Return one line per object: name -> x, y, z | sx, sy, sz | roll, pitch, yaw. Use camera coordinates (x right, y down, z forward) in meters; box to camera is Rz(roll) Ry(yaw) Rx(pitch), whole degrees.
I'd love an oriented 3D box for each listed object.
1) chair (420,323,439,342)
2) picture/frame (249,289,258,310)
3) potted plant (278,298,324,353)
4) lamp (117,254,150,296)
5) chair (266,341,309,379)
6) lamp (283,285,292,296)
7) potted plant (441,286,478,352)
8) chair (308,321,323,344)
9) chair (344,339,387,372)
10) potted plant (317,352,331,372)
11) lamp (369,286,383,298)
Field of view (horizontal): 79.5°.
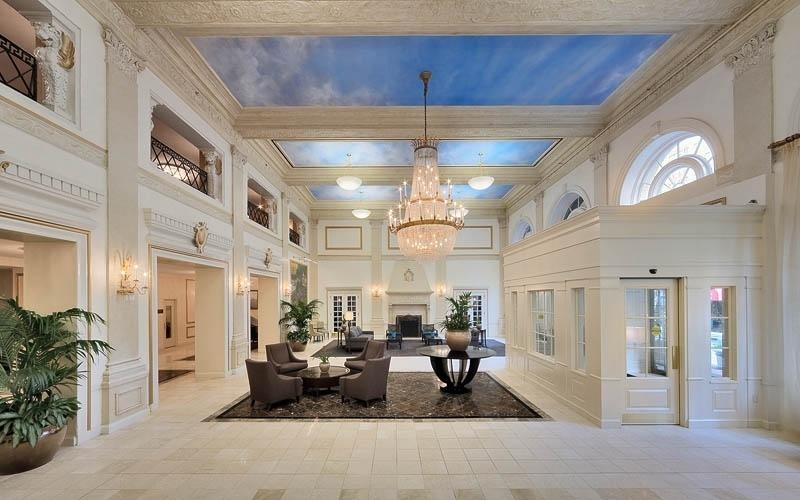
chair -> 1.183, 3.320, 19.213 | 0.657, 0.826, 0.678 | 0, -15, 1
picture/frame -> -6.813, 2.343, 22.330 | 0.219, 0.826, 0.377 | -3, 13, -10
potted plant -> -3.599, 2.794, 17.378 | 1.383, 1.721, 1.515 | 5, 7, 22
lamp -> -5.562, 0.530, 10.056 | 0.252, 0.905, 0.806 | 2, 12, 10
chair -> -2.906, 2.873, 12.162 | 0.972, 0.998, 0.965 | -4, -2, 13
lamp -> -4.112, 1.462, 17.452 | 0.211, 0.392, 0.407 | -4, -6, 20
potted plant -> 1.462, 1.801, 12.360 | 0.686, 1.405, 1.504 | 1, 12, 6
chair -> -3.414, 3.411, 19.967 | 0.723, 0.942, 0.793 | 3, -8, -29
chair -> -0.884, 2.801, 12.111 | 0.810, 0.961, 0.884 | 1, -6, 25
potted plant -> -1.846, 2.765, 11.799 | 0.494, 0.492, 0.437 | 1, -16, -7
lamp -> -1.031, 1.912, 21.727 | 0.605, 0.474, 0.222 | -1, 13, -5
